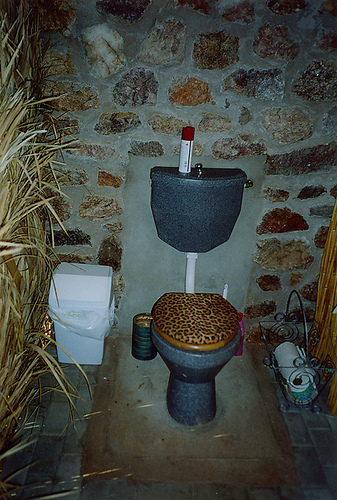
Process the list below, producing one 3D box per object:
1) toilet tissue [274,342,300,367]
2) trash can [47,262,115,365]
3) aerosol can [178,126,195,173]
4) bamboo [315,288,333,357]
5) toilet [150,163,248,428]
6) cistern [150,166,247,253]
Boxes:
[{"bbox_3d":[0.531,0.474,1.856,0.101,0.093,0.107,-2,2,7],"label":"toilet tissue"},{"bbox_3d":[-0.411,0.305,1.916,0.301,0.425,0.267,-2,21,-13],"label":"trash can"},{"bbox_3d":[0.072,-0.397,1.617,0.050,0.177,0.114,6,14,2],"label":"aerosol can"},{"bbox_3d":[0.695,0.377,1.882,0.037,0.186,0.091,3,17,6],"label":"bamboo"},{"bbox_3d":[0.099,0.207,1.705,0.475,0.936,0.687,3,32,3],"label":"toilet"},{"bbox_3d":[0.096,-0.185,1.756,0.346,0.345,0.322,-2,21,-13],"label":"cistern"}]
